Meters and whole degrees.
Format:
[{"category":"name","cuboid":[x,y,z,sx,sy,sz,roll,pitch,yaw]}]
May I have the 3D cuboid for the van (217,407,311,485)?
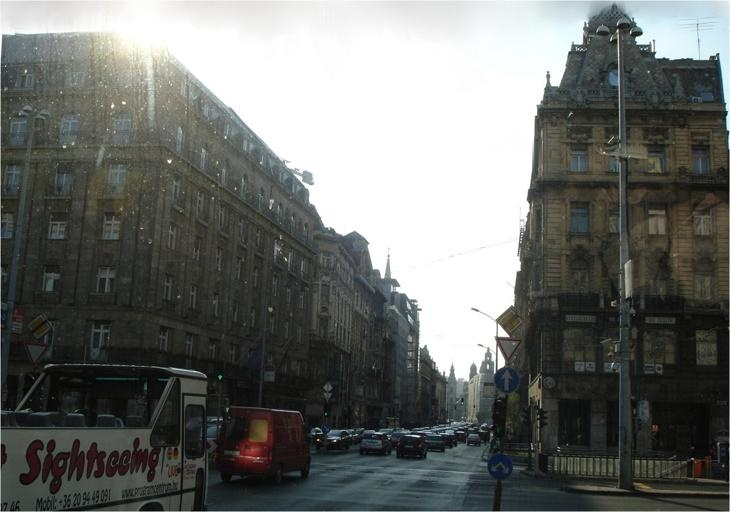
[{"category":"van","cuboid":[-4.269,7.902,34.609,3.596,3.913,7.340,-1,-13,7]}]
